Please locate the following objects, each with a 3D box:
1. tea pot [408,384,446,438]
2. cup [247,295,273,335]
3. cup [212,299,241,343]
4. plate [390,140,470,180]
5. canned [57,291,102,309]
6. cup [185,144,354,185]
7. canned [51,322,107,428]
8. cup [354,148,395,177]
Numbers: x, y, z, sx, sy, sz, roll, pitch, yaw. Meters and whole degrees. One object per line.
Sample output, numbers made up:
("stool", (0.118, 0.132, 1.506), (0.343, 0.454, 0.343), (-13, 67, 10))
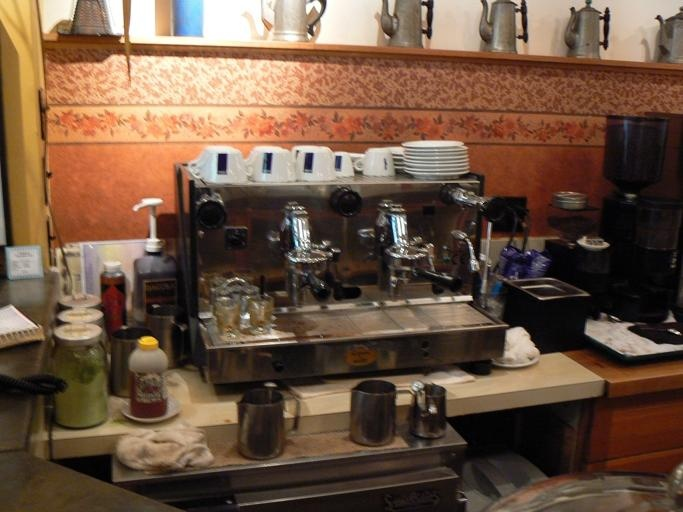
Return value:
("tea pot", (0.231, 0.408, 1.459), (0.090, 0.144, 0.060), (-8, 13, -24))
("cup", (-0.238, 0.167, 1.579), (0.069, 0.093, 0.083), (-9, 13, -26))
("cup", (-0.320, 0.173, 1.551), (0.070, 0.103, 0.093), (-5, 12, -12))
("plate", (0.283, -0.321, 1.828), (0.270, 0.127, 0.152), (1, 12, 18))
("canned", (-0.812, 0.138, 1.706), (0.077, 0.029, 0.070), (3, 4, 1))
("cup", (-0.187, -0.289, 1.718), (0.544, 0.114, 0.208), (-5, 11, -18))
("canned", (-0.672, 0.296, 1.402), (0.142, 0.262, 0.160), (-8, 13, -24))
("cup", (0.105, -0.311, 1.813), (0.133, 0.071, 0.093), (-3, 12, 0))
